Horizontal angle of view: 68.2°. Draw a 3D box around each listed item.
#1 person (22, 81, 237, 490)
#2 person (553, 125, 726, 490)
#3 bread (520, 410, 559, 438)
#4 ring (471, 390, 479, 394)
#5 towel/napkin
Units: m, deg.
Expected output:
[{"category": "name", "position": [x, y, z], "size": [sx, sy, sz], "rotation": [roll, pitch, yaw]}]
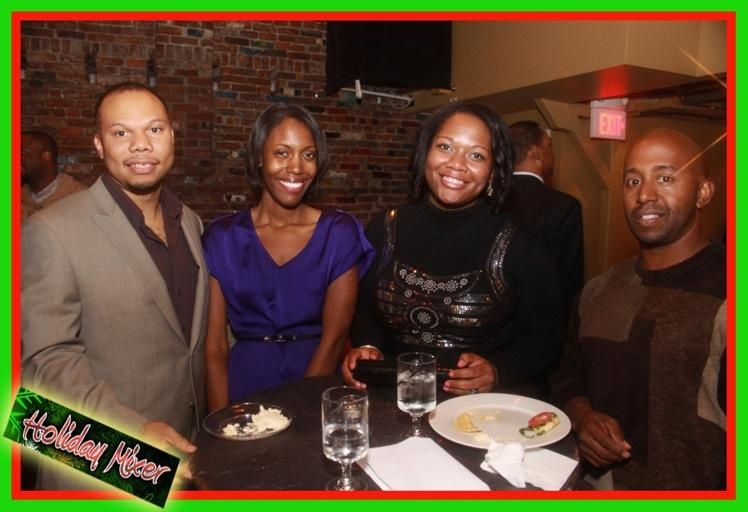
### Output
[{"category": "person", "position": [-0.971, 0.111, 2.120], "size": [0.666, 1.494, 1.000], "rotation": [-5, 19, -12]}, {"category": "person", "position": [1.028, 0.217, 2.025], "size": [0.522, 1.303, 0.538], "rotation": [6, 20, 18]}, {"category": "bread", "position": [0.573, 0.589, 1.926], "size": [0.117, 0.034, 0.069], "rotation": [-16, 12, -21]}, {"category": "ring", "position": [0.393, 0.529, 2.166], "size": [0.019, 0.012, 0.017], "rotation": [-1, -2, 0]}, {"category": "towel/napkin", "position": [0.154, 0.670, 1.776], "size": [0.397, 0.059, 0.193], "rotation": [1, 16, 3]}]
